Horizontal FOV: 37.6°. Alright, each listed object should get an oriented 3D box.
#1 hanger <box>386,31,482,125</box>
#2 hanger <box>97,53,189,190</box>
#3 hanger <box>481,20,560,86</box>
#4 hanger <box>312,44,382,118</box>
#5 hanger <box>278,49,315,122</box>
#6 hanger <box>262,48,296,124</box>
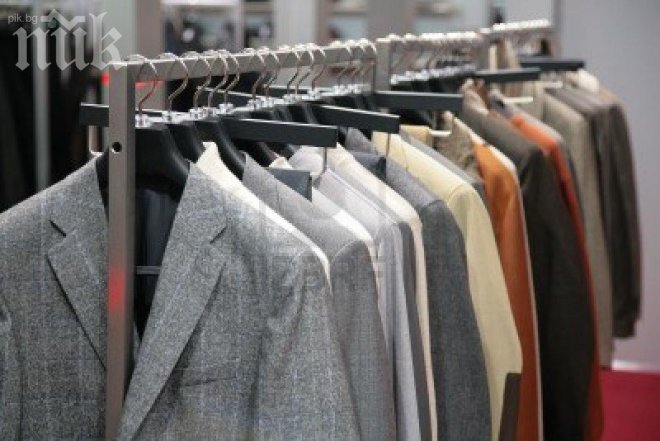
[{"bbox_3d":[0.254,-0.369,2.375,0.248,0.197,0.355,5,14,16],"label":"hanger"},{"bbox_3d":[-0.360,-0.112,1.863,0.170,0.390,0.065,-1,10,-13],"label":"hanger"},{"bbox_3d":[0.439,-0.408,2.307,0.177,0.157,0.092,7,12,22],"label":"hanger"},{"bbox_3d":[0.036,-0.355,2.349,0.136,0.208,0.135,7,11,36],"label":"hanger"},{"bbox_3d":[-0.072,-0.314,2.128,0.043,0.144,0.067,2,16,-27],"label":"hanger"},{"bbox_3d":[-0.119,-0.310,2.115,0.022,0.123,0.074,-14,0,16],"label":"hanger"}]
